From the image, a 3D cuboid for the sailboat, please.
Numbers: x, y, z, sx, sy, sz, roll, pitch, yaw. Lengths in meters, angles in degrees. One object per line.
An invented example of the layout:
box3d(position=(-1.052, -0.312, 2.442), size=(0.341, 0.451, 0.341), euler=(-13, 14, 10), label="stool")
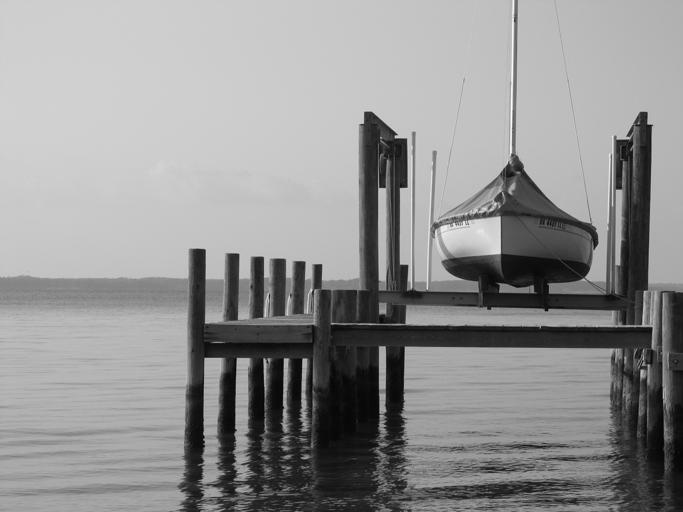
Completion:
box3d(position=(3.612, -1.164, 31.034), size=(3.280, 3.955, 2.063), euler=(1, 7, 3), label="sailboat")
